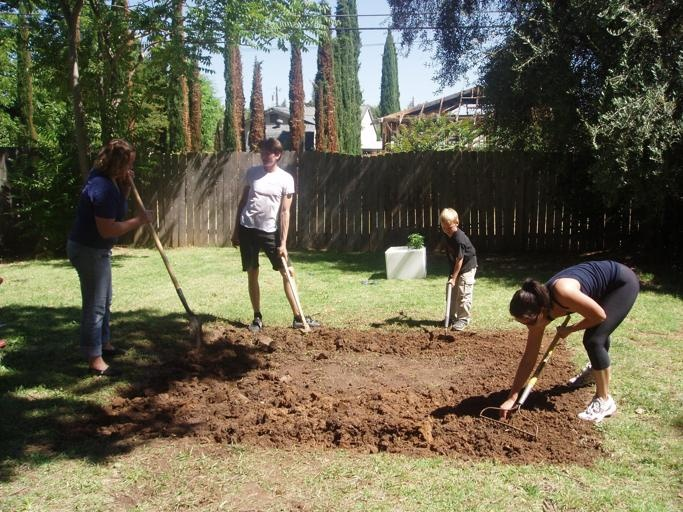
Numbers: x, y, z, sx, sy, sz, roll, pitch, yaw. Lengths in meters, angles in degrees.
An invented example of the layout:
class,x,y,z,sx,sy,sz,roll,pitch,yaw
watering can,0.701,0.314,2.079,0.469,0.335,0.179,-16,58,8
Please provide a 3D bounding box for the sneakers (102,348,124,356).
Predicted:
class,x,y,z,sx,sy,sz,roll,pitch,yaw
sneakers,-2.718,1.153,8.097,0.250,0.088,0.092,-4,9,-15

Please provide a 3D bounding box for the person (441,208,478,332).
class,x,y,z,sx,sy,sz,roll,pitch,yaw
person,1.574,0.167,9.170,0.471,1.596,0.728,4,8,21

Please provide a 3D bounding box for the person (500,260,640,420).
class,x,y,z,sx,sy,sz,roll,pitch,yaw
person,2.381,0.888,7.023,1.690,1.578,0.931,-16,15,-16

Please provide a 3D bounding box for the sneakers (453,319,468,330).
class,x,y,z,sx,sy,sz,roll,pitch,yaw
sneakers,1.578,0.930,9.086,0.093,0.091,0.205,-1,0,42

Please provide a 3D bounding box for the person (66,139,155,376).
class,x,y,z,sx,sy,sz,roll,pitch,yaw
person,-2.661,-0.001,7.659,0.797,2.609,0.668,-2,8,-18

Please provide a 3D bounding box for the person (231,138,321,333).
class,x,y,z,sx,sy,sz,roll,pitch,yaw
person,-0.968,-0.295,9.106,0.820,2.525,0.526,-1,8,-9

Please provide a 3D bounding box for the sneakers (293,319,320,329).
class,x,y,z,sx,sy,sz,roll,pitch,yaw
sneakers,-0.484,0.911,9.170,0.377,0.178,0.144,-1,7,-6

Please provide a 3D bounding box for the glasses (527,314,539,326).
class,x,y,z,sx,sy,sz,roll,pitch,yaw
glasses,1.882,0.636,6.690,0.093,0.133,0.107,3,8,19

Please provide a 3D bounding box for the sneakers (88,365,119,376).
class,x,y,z,sx,sy,sz,roll,pitch,yaw
sneakers,-2.657,1.288,7.588,0.279,0.110,0.149,3,7,-3
